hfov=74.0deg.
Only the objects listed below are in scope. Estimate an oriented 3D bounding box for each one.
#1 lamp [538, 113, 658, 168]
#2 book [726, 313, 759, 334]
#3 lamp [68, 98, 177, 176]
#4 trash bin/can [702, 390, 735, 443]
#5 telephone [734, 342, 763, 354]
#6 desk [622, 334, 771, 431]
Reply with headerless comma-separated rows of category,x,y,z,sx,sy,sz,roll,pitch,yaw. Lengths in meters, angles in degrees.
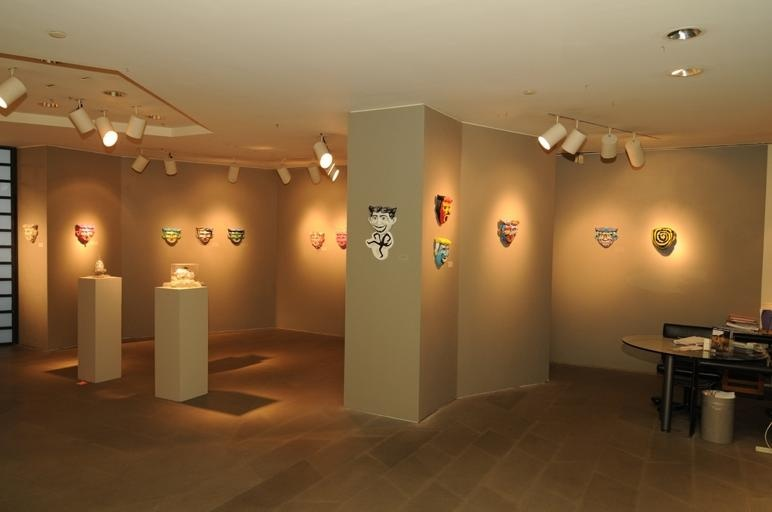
lamp,3.002,-1.647,7.145,1.185,0.468,0.233,18,0,-6
book,4.625,0.875,6.602,0.282,0.097,0.289,1,3,27
lamp,-3.820,-1.761,7.554,0.584,1.435,3.358,-4,20,-35
trash bin/can,3.961,1.911,6.071,0.385,0.557,0.257,4,9,19
telephone,4.457,1.120,6.250,0.197,0.072,0.147,2,0,-23
desk,3.812,1.411,6.284,1.234,0.790,1.266,8,10,40
